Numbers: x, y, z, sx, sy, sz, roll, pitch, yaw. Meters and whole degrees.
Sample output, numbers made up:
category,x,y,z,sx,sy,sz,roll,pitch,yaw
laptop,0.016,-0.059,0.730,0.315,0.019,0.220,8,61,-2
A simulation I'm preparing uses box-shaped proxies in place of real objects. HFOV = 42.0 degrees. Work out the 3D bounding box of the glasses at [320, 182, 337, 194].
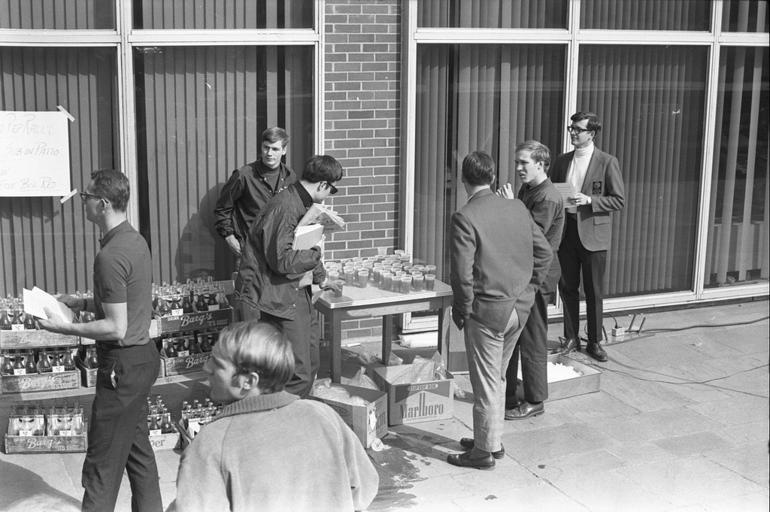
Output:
category,x,y,z,sx,sy,sz,roll,pitch,yaw
glasses,-0.473,-0.585,8.367,0.030,0.098,0.097,-41,-18,-4

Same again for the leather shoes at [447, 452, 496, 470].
category,x,y,z,sx,sy,sz,roll,pitch,yaw
leather shoes,0.726,1.741,8.458,0.392,0.163,0.147,4,5,16

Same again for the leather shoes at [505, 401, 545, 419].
category,x,y,z,sx,sy,sz,roll,pitch,yaw
leather shoes,1.264,1.430,9.157,0.360,0.139,0.141,0,4,-17

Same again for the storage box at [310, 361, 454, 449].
category,x,y,z,sx,sy,sz,roll,pitch,yaw
storage box,-0.076,1.280,8.985,0.914,0.280,0.831,-4,10,-28

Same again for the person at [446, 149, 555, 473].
category,x,y,z,sx,sy,sz,roll,pitch,yaw
person,0.863,0.476,8.246,0.713,2.643,0.444,0,12,6

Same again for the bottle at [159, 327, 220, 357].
category,x,y,z,sx,sy,sz,roll,pitch,yaw
bottle,-1.893,0.858,9.613,0.397,0.157,0.384,2,9,0

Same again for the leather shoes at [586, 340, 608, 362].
category,x,y,z,sx,sy,sz,roll,pitch,yaw
leather shoes,2.186,0.989,10.251,0.113,0.119,0.292,-6,11,-17

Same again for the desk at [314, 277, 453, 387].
category,x,y,z,sx,sy,sz,roll,pitch,yaw
desk,0.091,0.729,9.746,1.273,1.023,1.246,-9,12,-15

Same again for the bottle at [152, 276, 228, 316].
category,x,y,z,sx,sy,sz,roll,pitch,yaw
bottle,-1.923,0.390,9.819,0.470,0.147,0.430,1,12,0
